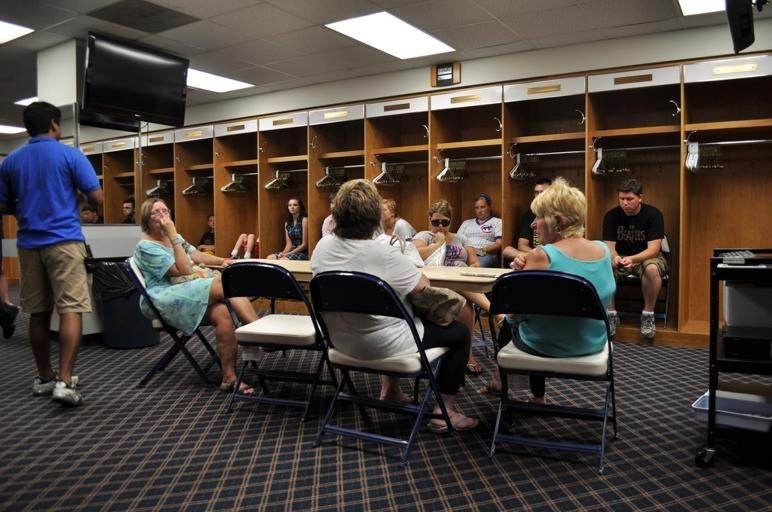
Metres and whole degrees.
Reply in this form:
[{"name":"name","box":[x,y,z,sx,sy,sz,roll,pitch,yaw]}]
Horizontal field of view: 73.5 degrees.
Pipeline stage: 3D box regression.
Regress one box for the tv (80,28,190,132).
[{"name":"tv","box":[-3.039,-2.170,6.562,1.263,0.865,0.685,11,16,-6]}]

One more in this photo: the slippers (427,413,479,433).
[{"name":"slippers","box":[0.496,1.211,3.840,0.349,0.144,0.162,-2,0,2]}]

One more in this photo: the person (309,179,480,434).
[{"name":"person","box":[0.036,0.403,4.014,1.260,1.852,1.094,-2,7,-21]}]

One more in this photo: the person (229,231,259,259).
[{"name":"person","box":[-2.602,-0.179,9.328,0.823,0.465,0.300,1,4,43]}]

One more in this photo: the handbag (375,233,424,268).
[{"name":"handbag","box":[0.127,-0.028,4.440,0.263,0.129,0.367,13,0,30]}]

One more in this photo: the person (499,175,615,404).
[{"name":"person","box":[1.175,0.355,3.588,0.715,1.736,0.619,4,13,23]}]

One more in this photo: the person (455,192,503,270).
[{"name":"person","box":[1.255,-0.199,7.147,0.687,1.245,0.702,2,0,19]}]

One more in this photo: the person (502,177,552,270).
[{"name":"person","box":[1.907,-0.417,6.637,0.816,1.130,0.741,0,7,-1]}]

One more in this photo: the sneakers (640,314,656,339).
[{"name":"sneakers","box":[3.016,0.801,5.949,0.164,0.320,0.240,6,14,31]}]

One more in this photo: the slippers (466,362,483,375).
[{"name":"slippers","box":[0.840,1.086,4.944,0.117,0.071,0.267,-1,-4,-8]}]
